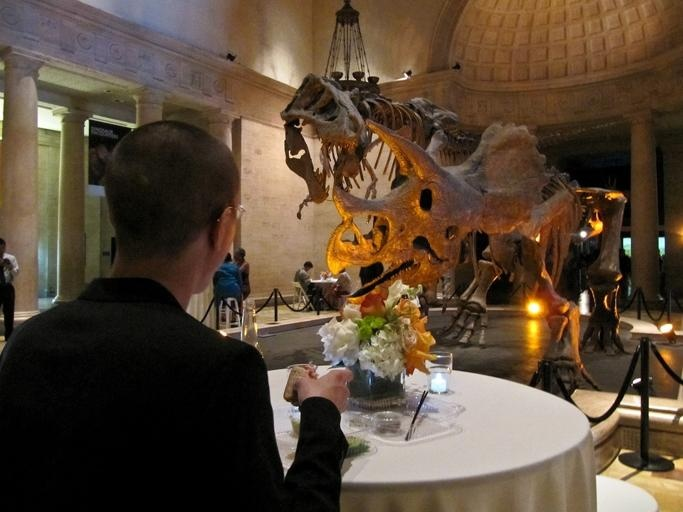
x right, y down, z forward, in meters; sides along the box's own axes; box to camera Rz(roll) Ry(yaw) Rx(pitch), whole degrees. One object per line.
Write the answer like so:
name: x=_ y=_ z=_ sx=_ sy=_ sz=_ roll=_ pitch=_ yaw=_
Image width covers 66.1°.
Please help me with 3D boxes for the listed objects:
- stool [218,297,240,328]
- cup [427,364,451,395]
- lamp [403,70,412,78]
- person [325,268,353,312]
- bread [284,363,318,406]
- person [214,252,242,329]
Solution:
stool: x=-1.800 y=0.879 z=8.373 sx=0.356 sy=0.380 sz=0.511 roll=-3 pitch=44 yaw=-3
cup: x=0.466 y=0.579 z=2.553 sx=0.129 sy=0.179 sz=0.138 roll=-1 pitch=-2 yaw=0
lamp: x=1.784 y=-4.854 z=14.033 sx=0.167 sy=0.220 sz=0.184 roll=-17 pitch=36 yaw=-36
person: x=-0.046 y=0.690 z=11.359 sx=0.500 sy=0.993 sz=0.407 roll=10 pitch=5 yaw=2
bread: x=-0.142 y=0.432 z=1.854 sx=0.076 sy=0.218 sz=0.121 roll=-7 pitch=14 yaw=-31
person: x=-1.837 y=0.671 z=8.461 sx=0.552 sy=1.452 sz=0.548 roll=2 pitch=0 yaw=-28
